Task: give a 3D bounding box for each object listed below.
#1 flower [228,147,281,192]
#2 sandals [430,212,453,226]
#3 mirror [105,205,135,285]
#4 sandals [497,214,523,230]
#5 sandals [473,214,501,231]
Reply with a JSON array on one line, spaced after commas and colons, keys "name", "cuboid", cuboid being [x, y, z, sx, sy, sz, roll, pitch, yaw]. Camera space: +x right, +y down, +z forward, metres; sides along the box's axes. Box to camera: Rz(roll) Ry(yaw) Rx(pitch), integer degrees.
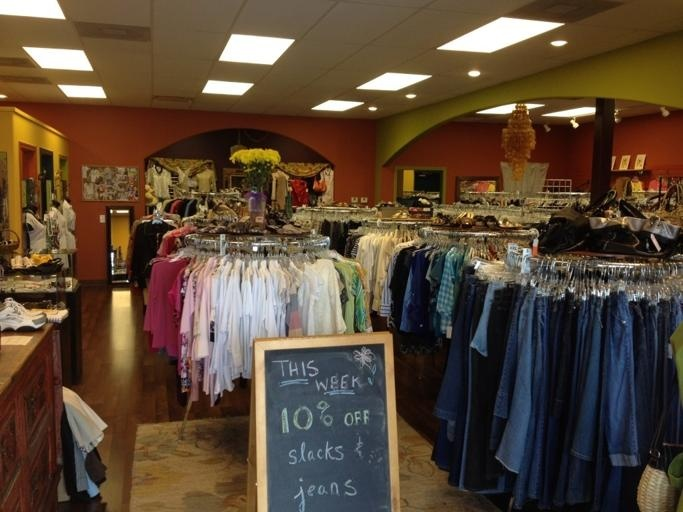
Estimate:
[{"name": "flower", "cuboid": [-0.785, -0.803, 4.755, 0.398, 0.389, 0.327, 9, 10, 44]}, {"name": "sandals", "cuboid": [1.086, -0.390, 5.472, 0.241, 0.106, 0.336, 2, 0, 28]}, {"name": "mirror", "cuboid": [-4.506, -0.224, 10.387, 0.534, 1.584, 0.258, 2, 7, 3]}, {"name": "sandals", "cuboid": [1.843, -0.372, 5.537, 0.255, 0.138, 0.364, 3, 8, -2]}, {"name": "sandals", "cuboid": [1.379, -0.310, 4.822, 0.201, 0.069, 0.155, 4, 1, -33]}]
